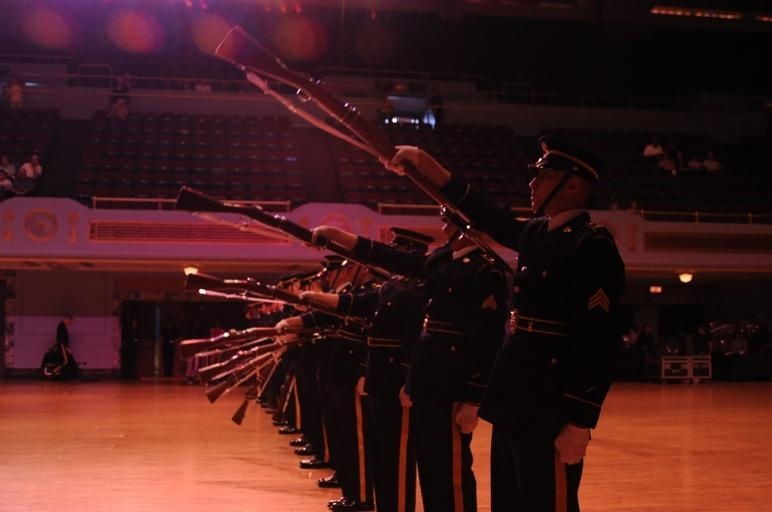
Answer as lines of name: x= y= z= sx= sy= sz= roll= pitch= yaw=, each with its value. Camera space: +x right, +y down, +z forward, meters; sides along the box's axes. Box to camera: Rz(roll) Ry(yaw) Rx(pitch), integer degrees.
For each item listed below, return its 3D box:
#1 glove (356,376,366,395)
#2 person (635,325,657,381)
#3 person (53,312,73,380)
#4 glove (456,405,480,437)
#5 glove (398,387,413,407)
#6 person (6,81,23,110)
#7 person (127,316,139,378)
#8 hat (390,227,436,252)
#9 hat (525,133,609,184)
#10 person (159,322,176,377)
glove: x=-0.319 y=1.650 z=10.977 sx=0.068 sy=0.248 sz=0.266 roll=7 pitch=-2 yaw=-10
person: x=6.669 y=2.463 z=21.854 sx=0.406 sy=1.162 sz=0.907 roll=4 pitch=-5 yaw=-8
person: x=-7.769 y=2.233 z=20.941 sx=0.309 sy=1.387 sz=0.646 roll=-3 pitch=-9 yaw=30
glove: x=0.923 y=1.869 z=10.009 sx=0.278 sy=0.309 sz=0.352 roll=-3 pitch=-6 yaw=-4
glove: x=0.237 y=1.645 z=10.162 sx=0.218 sy=0.200 sz=0.221 roll=15 pitch=-31 yaw=-24
person: x=-9.755 y=-4.227 z=22.623 sx=0.363 sy=0.820 sz=0.479 roll=8 pitch=-11 yaw=-41
person: x=-6.341 y=2.309 z=21.581 sx=0.283 sy=1.449 sz=0.550 roll=3 pitch=-8 yaw=-12
hat: x=0.341 y=-0.201 z=10.627 sx=0.431 sy=0.140 sz=0.366 roll=6 pitch=3 yaw=-16
hat: x=2.018 y=-1.091 z=9.550 sx=0.712 sy=0.267 sz=0.472 roll=12 pitch=2 yaw=-5
person: x=-5.536 y=2.336 z=21.851 sx=0.391 sy=1.363 sz=0.385 roll=4 pitch=-8 yaw=-14
